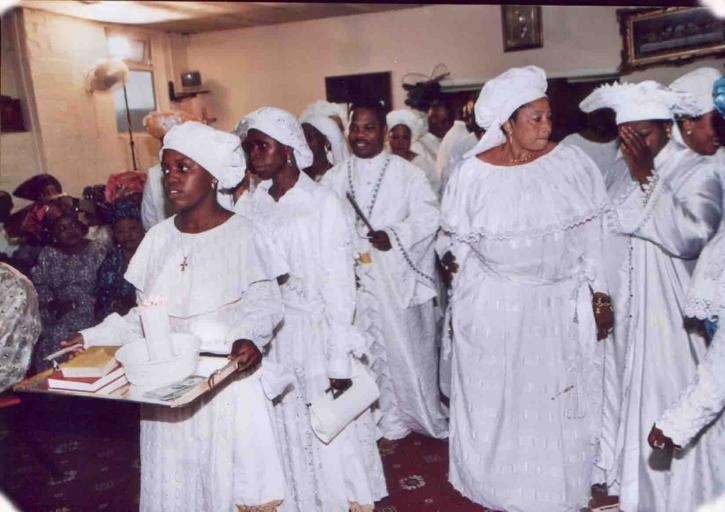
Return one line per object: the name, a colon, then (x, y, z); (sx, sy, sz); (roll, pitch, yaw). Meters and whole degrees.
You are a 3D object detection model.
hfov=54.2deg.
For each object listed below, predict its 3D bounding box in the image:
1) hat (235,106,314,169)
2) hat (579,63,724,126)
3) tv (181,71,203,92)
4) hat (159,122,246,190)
hat: (-0.605, -0.778, 4.731); (0.486, 0.422, 0.291); (-5, 12, 0)
hat: (1.894, -0.999, 4.494); (0.520, 0.193, 0.518); (10, 26, 44)
tv: (-2.345, -2.403, 9.655); (0.308, 0.273, 0.288); (-1, 2, -10)
hat: (-0.964, -0.651, 4.207); (0.382, 0.447, 0.205); (-38, -15, -34)
